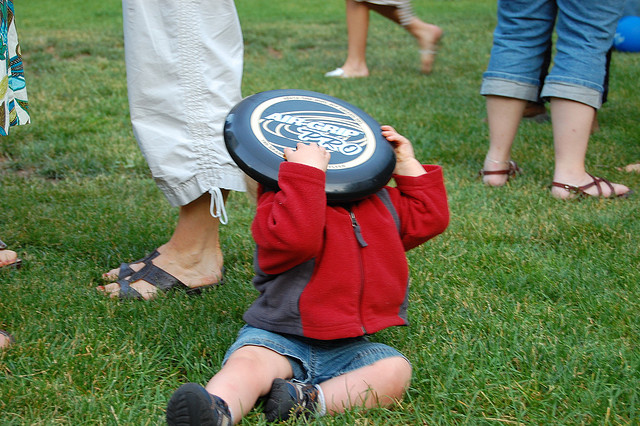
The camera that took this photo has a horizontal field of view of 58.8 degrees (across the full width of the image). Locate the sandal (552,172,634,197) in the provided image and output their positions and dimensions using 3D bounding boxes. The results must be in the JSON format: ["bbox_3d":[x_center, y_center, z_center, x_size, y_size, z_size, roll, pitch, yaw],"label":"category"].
[{"bbox_3d":[1.791,-0.190,3.739,0.415,0.101,0.169,0,11,1],"label":"sandal"}]

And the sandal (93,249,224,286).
[{"bbox_3d":[-0.818,0.345,2.975,0.672,0.151,0.247,0,19,-10],"label":"sandal"}]

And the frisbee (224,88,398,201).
[{"bbox_3d":[-0.025,-0.353,2.420,0.587,0.161,0.570,25,44,2],"label":"frisbee"}]

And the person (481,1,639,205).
[{"bbox_3d":[1.600,-0.793,3.862,0.983,1.238,0.819,9,29,13],"label":"person"}]

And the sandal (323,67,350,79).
[{"bbox_3d":[0.172,-1.619,6.568,0.275,0.056,0.435,1,26,-1],"label":"sandal"}]

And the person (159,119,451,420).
[{"bbox_3d":[0.004,0.333,2.646,1.552,1.371,1.066,-2,2,-10],"label":"person"}]

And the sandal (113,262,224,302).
[{"bbox_3d":[-0.840,0.341,2.908,0.527,0.147,0.176,0,21,-5],"label":"sandal"}]

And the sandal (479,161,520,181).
[{"bbox_3d":[1.308,-0.297,4.090,0.220,0.080,0.149,0,0,-19],"label":"sandal"}]
